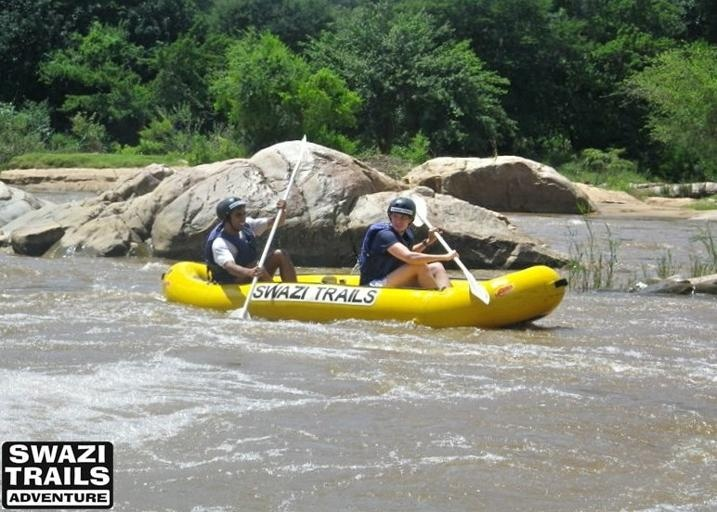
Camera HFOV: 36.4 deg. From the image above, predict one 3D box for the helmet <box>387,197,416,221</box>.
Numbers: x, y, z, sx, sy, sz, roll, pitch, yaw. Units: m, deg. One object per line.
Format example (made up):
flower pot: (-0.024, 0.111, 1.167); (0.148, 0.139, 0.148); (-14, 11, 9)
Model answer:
helmet: (0.890, -0.948, 21.808); (0.558, 0.459, 0.370); (-1, 5, -5)

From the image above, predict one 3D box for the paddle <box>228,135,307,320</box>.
paddle: (-1.703, -0.769, 23.257); (0.905, 5.087, 0.199); (25, -33, -10)

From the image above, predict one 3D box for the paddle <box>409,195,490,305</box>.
paddle: (1.788, -0.225, 22.409); (0.774, 0.201, 3.579); (-31, 45, -1)
